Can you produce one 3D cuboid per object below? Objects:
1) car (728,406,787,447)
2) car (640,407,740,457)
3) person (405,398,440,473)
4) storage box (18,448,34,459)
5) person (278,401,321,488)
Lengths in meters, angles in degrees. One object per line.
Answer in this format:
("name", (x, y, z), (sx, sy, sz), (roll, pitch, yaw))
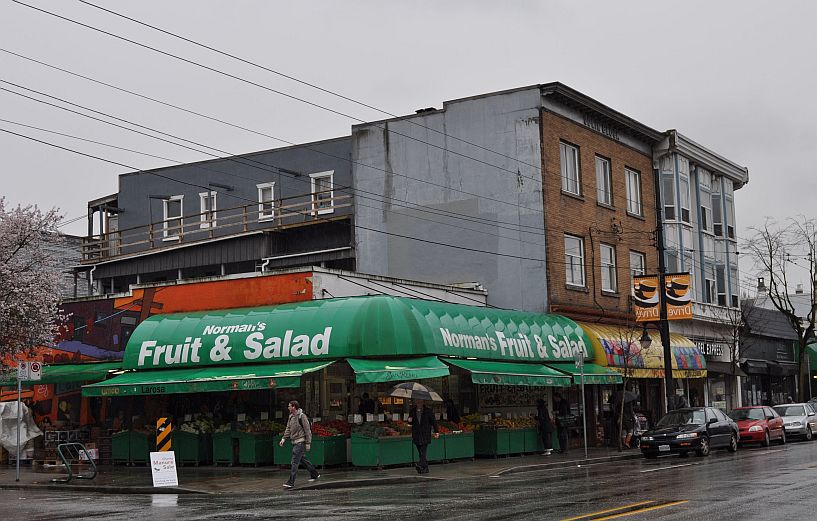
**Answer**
("car", (16.442, 7.826, 60.362), (2.412, 1.639, 4.323), (-4, -4, 32))
("car", (12.388, 7.423, 55.183), (2.777, 1.733, 6.045), (-6, -7, 35))
("person", (0.608, 6.866, 49.363), (1.250, 2.478, 1.227), (-4, 0, -30))
("storage box", (-16.690, 8.465, 55.165), (0.893, 0.569, 0.494), (-5, -9, 28))
("person", (-4.193, 6.777, 46.673), (1.135, 3.087, 1.530), (-4, -6, 39))
